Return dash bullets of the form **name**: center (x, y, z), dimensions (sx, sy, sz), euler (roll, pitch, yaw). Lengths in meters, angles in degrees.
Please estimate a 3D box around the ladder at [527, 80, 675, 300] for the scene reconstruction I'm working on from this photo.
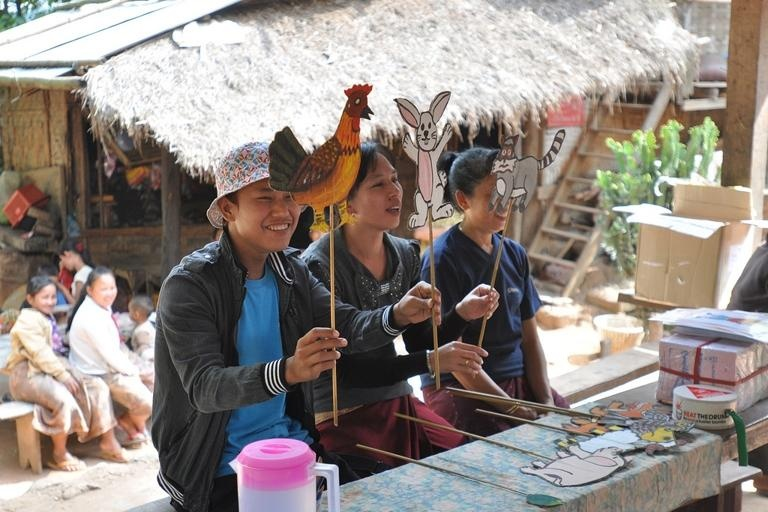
- **ladder**: center (3.131, -1.477, 10.330), dimensions (2.264, 3.125, 1.014), euler (-27, 40, -25)

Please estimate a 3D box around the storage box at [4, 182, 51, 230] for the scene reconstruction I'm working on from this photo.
- **storage box**: center (-3.862, -0.534, 8.115), dimensions (0.279, 0.410, 0.392), euler (37, 9, 21)

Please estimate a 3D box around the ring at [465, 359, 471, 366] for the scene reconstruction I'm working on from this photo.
- **ring**: center (0.454, 0.558, 3.986), dimensions (0.029, 0.023, 0.010), euler (-4, 9, -10)

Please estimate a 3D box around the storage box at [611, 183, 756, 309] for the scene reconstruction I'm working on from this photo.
- **storage box**: center (2.280, -0.092, 5.592), dimensions (1.012, 0.790, 0.967), euler (7, 7, 37)

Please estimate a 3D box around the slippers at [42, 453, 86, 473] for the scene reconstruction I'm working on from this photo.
- **slippers**: center (-2.788, 1.772, 6.608), dimensions (0.287, 0.102, 0.166), euler (1, 4, 24)
